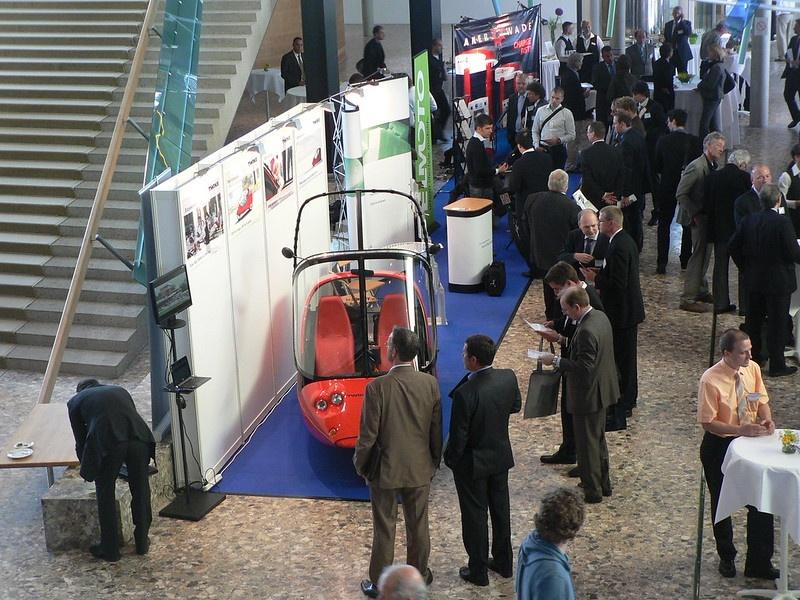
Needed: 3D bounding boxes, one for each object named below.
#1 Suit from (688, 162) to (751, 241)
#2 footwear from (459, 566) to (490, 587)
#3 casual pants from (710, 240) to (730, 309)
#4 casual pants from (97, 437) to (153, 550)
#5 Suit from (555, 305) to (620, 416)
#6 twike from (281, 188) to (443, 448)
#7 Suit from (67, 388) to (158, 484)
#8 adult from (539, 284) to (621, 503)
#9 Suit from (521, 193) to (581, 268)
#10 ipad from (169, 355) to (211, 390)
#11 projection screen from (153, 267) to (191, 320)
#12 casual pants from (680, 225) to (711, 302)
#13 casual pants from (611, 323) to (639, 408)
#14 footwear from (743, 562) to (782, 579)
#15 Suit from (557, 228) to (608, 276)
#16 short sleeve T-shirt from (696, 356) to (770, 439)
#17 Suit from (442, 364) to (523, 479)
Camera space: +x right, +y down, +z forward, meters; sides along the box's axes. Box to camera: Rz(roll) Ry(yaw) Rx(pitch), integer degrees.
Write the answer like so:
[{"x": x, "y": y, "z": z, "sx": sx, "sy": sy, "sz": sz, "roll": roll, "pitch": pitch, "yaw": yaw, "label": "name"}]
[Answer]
[{"x": 3.487, "y": -1.079, "z": 11.348, "sx": 0.563, "sy": 1.276, "sz": 0.380, "roll": 11, "pitch": 34, "yaw": 28, "label": "Suit"}, {"x": 0.603, "y": 2.257, "z": 8.568, "sx": 0.265, "sy": 0.124, "sz": 0.107, "roll": 20, "pitch": 30, "yaw": 36, "label": "footwear"}, {"x": 3.615, "y": -0.244, "z": 11.758, "sx": 0.187, "sy": 0.837, "sz": 0.429, "roll": -1, "pitch": 7, "yaw": 17, "label": "casual pants"}, {"x": -2.354, "y": 1.606, "z": 8.873, "sx": 0.502, "sy": 1.213, "sz": 0.289, "roll": -14, "pitch": 32, "yaw": -31, "label": "casual pants"}, {"x": 1.643, "y": 0.529, "z": 9.172, "sx": 0.499, "sy": 0.863, "sz": 0.663, "roll": 6, "pitch": 27, "yaw": 25, "label": "Suit"}, {"x": -0.380, "y": 0.154, "z": 10.922, "sx": 1.419, "sy": 2.631, "sz": 2.537, "roll": -2, "pitch": 15, "yaw": -5, "label": "twike"}, {"x": -2.455, "y": 1.113, "z": 8.848, "sx": 0.644, "sy": 0.822, "sz": 0.480, "roll": -9, "pitch": -14, "yaw": -47, "label": "Suit"}, {"x": 1.636, "y": 0.868, "z": 9.291, "sx": 0.621, "sy": 1.835, "sz": 0.631, "roll": 6, "pitch": 13, "yaw": 40, "label": "adult"}, {"x": 1.709, "y": -0.797, "z": 11.661, "sx": 0.611, "sy": 0.914, "sz": 0.507, "roll": 14, "pitch": 39, "yaw": 19, "label": "Suit"}, {"x": -1.903, "y": 0.685, "z": 9.245, "sx": 0.214, "sy": 0.274, "sz": 0.374, "roll": -11, "pitch": 11, "yaw": 20, "label": "ipad"}, {"x": -1.959, "y": -0.032, "z": 9.075, "sx": 0.498, "sy": 0.377, "sz": 0.088, "roll": -24, "pitch": -13, "yaw": 37, "label": "projection screen"}, {"x": 3.463, "y": -0.422, "z": 12.197, "sx": 0.296, "sy": 1.036, "sz": 0.276, "roll": -4, "pitch": 39, "yaw": 13, "label": "casual pants"}, {"x": 2.204, "y": 0.578, "z": 10.179, "sx": 0.214, "sy": 0.786, "sz": 0.222, "roll": 3, "pitch": -4, "yaw": -29, "label": "casual pants"}, {"x": 2.883, "y": 2.176, "z": 8.382, "sx": 0.312, "sy": 0.151, "sz": 0.114, "roll": -2, "pitch": 18, "yaw": 4, "label": "footwear"}, {"x": 1.849, "y": -0.521, "z": 10.467, "sx": 0.408, "sy": 0.445, "sz": 0.169, "roll": 23, "pitch": 39, "yaw": 33, "label": "Suit"}, {"x": 2.668, "y": 0.812, "z": 8.356, "sx": 0.668, "sy": 0.671, "sz": 0.378, "roll": -8, "pitch": 10, "yaw": -17, "label": "short sleeve T-shirt"}, {"x": 0.664, "y": 0.984, "z": 8.418, "sx": 0.661, "sy": 0.881, "sz": 0.211, "roll": -7, "pitch": 8, "yaw": -26, "label": "Suit"}]
